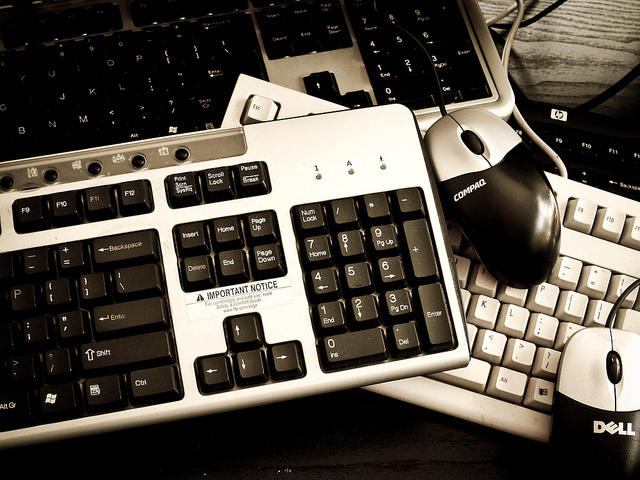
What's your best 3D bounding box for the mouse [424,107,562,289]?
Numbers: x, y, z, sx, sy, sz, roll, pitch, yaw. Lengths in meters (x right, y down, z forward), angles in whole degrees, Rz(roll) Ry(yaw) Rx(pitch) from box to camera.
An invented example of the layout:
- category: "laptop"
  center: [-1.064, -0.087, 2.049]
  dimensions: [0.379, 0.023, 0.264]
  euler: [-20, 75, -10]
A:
- category: "mouse"
  center: [0.192, -0.049, 0.831]
  dimensions: [0.120, 0.228, 0.070]
  euler: [-22, -4, -19]
